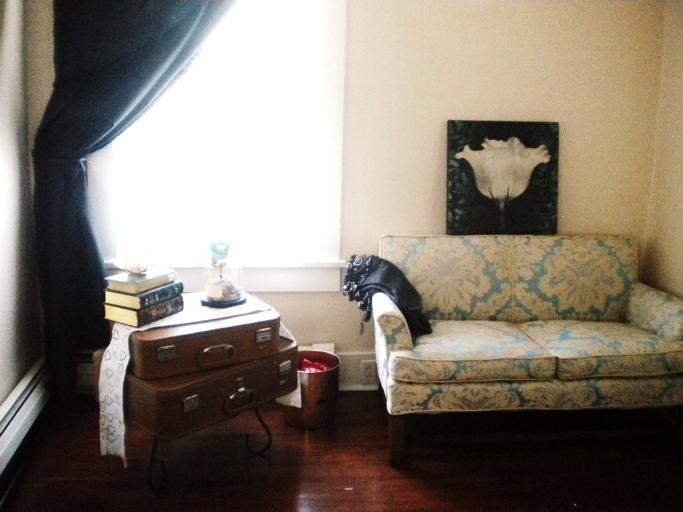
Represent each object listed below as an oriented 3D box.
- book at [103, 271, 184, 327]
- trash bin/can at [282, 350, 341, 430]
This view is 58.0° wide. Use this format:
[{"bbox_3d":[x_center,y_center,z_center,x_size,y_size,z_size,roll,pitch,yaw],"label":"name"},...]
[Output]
[{"bbox_3d":[-0.911,0.126,2.825,0.252,0.196,0.341,9,15,28],"label":"book"},{"bbox_3d":[-0.143,0.708,3.240,0.336,0.268,0.364,0,1,2],"label":"trash bin/can"}]
